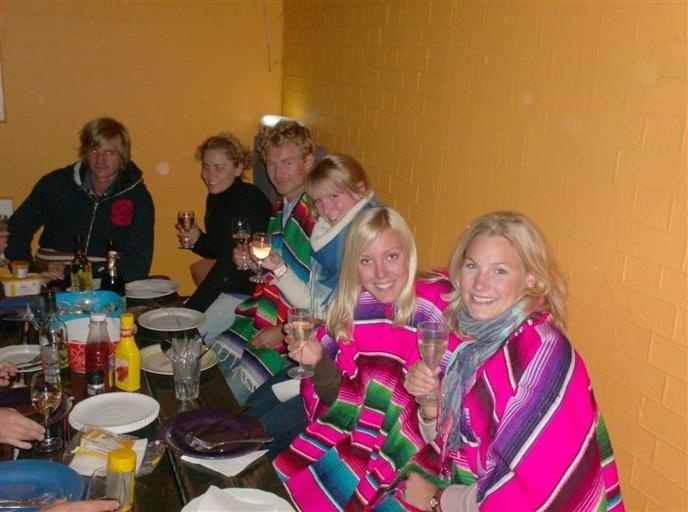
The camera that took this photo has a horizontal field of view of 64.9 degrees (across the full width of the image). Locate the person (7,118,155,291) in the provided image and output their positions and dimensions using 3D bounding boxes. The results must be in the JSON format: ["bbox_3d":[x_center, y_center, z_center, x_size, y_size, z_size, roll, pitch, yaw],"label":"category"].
[{"bbox_3d":[-1.867,-0.356,3.790,0.987,1.236,0.773,11,18,-23],"label":"person"}]

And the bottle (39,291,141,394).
[{"bbox_3d":[-1.079,0.335,2.247,0.346,0.180,0.431,2,9,-1],"label":"bottle"}]

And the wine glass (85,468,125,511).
[{"bbox_3d":[-0.658,0.637,1.507,0.091,0.080,0.105,2,6,-6],"label":"wine glass"}]

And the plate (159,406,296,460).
[{"bbox_3d":[-0.421,0.586,1.778,0.214,0.031,0.178,6,14,0],"label":"plate"}]

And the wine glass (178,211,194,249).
[{"bbox_3d":[-0.979,-0.153,3.402,0.101,0.251,0.245,-1,10,-16],"label":"wine glass"}]

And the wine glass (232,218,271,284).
[{"bbox_3d":[-0.510,-0.010,2.977,0.113,0.287,0.307,-11,28,-33],"label":"wine glass"}]
